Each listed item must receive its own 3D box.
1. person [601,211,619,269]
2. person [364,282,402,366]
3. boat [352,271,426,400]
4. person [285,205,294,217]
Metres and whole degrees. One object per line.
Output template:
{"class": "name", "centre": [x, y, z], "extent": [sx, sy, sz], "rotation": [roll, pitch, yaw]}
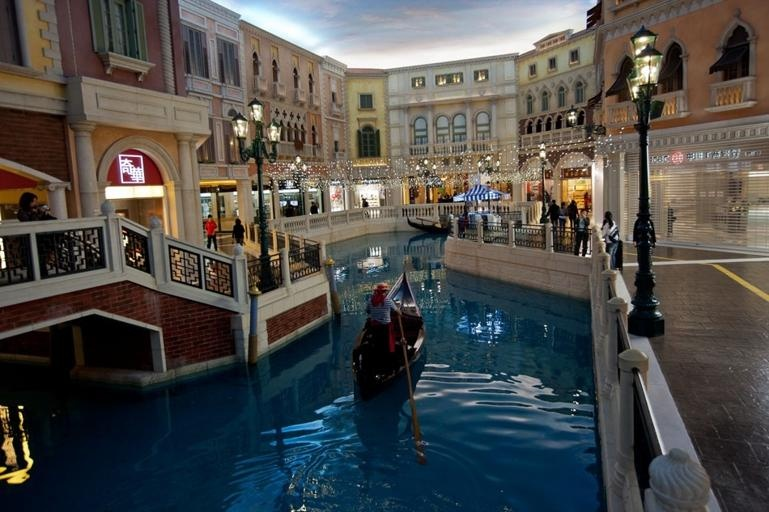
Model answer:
{"class": "person", "centre": [7.732, -0.519, 18.658], "extent": [0.558, 1.958, 1.337], "rotation": [1, 12, 22]}
{"class": "person", "centre": [-0.050, 1.785, 14.552], "extent": [0.717, 1.974, 1.024], "rotation": [-4, 12, -5]}
{"class": "boat", "centre": [0.156, 2.392, 15.238], "extent": [1.239, 1.337, 4.573], "rotation": [-7, 37, 22]}
{"class": "person", "centre": [-6.481, -3.172, 37.262], "extent": [0.539, 0.724, 1.199], "rotation": [-6, 12, -10]}
